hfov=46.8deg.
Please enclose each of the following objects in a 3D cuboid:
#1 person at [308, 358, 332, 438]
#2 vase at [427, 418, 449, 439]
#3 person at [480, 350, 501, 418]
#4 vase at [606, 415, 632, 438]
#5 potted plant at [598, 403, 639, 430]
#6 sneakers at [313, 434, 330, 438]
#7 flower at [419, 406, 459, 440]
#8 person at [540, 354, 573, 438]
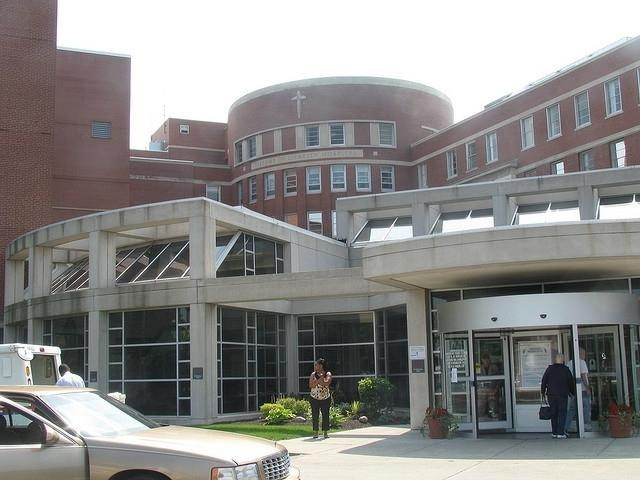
[{"bbox_3d":[0.010,4.561,21.116,0.571,2.164,1.405,-1,-13,-1],"label":"person"},{"bbox_3d":[3.333,5.298,20.810,0.566,0.407,0.555,3,-11,-11],"label":"vase"},{"bbox_3d":[4.921,4.228,21.255,0.789,1.866,0.254,5,-14,-24],"label":"person"},{"bbox_3d":[7.824,4.852,19.273,0.571,0.413,0.572,1,-14,3],"label":"vase"},{"bbox_3d":[7.798,4.735,19.307,0.681,0.754,0.723,2,-12,-6],"label":"potted plant"},{"bbox_3d":[0.012,5.656,21.282,0.339,0.085,0.209,-3,-3,9],"label":"sneakers"},{"bbox_3d":[3.445,5.263,21.157,0.954,0.694,0.958,2,-16,1],"label":"flower"},{"bbox_3d":[6.306,4.225,19.490,0.575,1.899,0.808,10,-17,-38],"label":"person"}]
